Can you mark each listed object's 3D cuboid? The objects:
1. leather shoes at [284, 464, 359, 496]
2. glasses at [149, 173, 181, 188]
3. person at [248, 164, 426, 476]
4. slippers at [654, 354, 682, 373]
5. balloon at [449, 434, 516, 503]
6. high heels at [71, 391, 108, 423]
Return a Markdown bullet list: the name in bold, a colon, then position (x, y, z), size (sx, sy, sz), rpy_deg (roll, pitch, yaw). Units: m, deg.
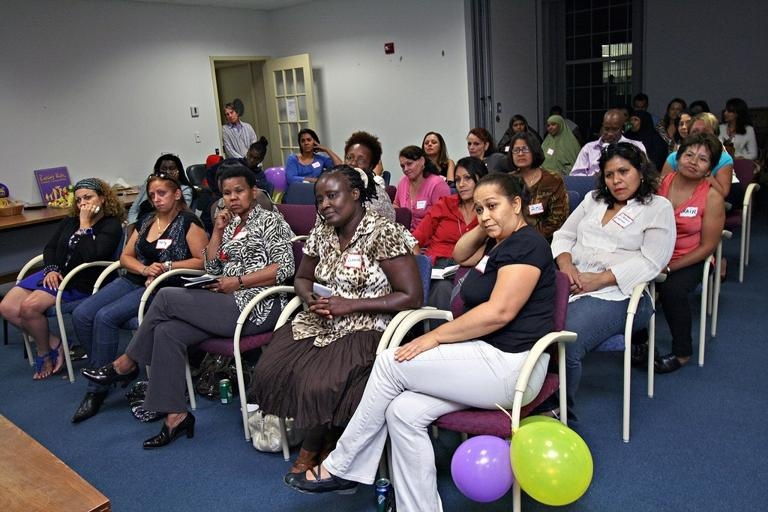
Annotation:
- **leather shoes**: position (-0.310, 1.102, 2.455), size (0.351, 0.161, 0.154), rpy_deg (7, -5, -6)
- **glasses**: position (-1.593, -0.543, 3.552), size (0.131, 0.146, 0.043), rpy_deg (3, 44, 7)
- **person**: position (-0.291, 0.335, 2.687), size (0.906, 1.607, 0.858), rpy_deg (-8, 11, -31)
- **slippers**: position (1.946, 0.726, 3.331), size (0.240, 0.101, 0.085), rpy_deg (-2, -4, -38)
- **balloon**: position (0.410, 0.882, 2.046), size (0.246, 0.277, 0.307), rpy_deg (-3, -12, 11)
- **high heels**: position (-1.975, 0.997, 3.320), size (0.099, 0.129, 0.310), rpy_deg (9, 8, 7)
